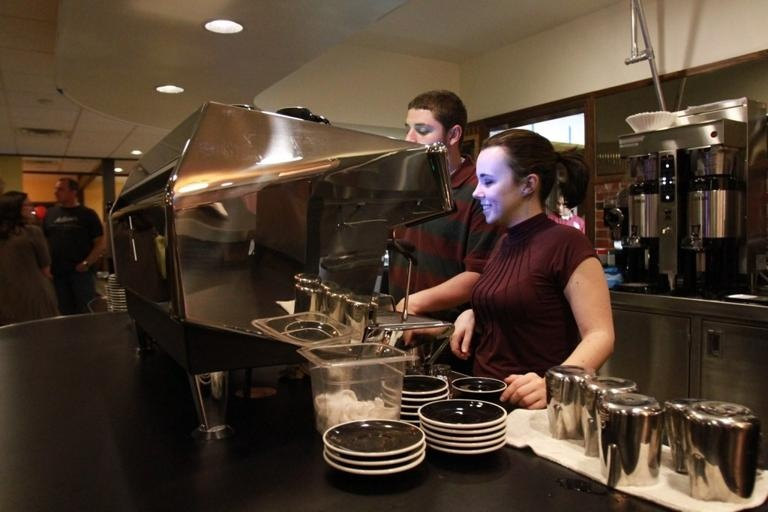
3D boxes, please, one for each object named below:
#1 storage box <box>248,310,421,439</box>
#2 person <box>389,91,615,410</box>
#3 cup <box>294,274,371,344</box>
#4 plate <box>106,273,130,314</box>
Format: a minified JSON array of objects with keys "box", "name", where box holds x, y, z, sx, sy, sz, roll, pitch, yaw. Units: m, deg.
[{"box":[-0.143,0.294,1.654,0.433,0.278,0.307,-2,6,-24],"name":"storage box"},{"box":[0.472,-0.167,2.319,0.650,1.233,1.071,-3,3,-26],"name":"person"},{"box":[-0.165,0.170,1.761,0.176,0.152,0.092,11,14,-18],"name":"cup"},{"box":[-1.508,0.200,3.207,0.088,0.219,0.450,-3,3,-27],"name":"plate"}]
